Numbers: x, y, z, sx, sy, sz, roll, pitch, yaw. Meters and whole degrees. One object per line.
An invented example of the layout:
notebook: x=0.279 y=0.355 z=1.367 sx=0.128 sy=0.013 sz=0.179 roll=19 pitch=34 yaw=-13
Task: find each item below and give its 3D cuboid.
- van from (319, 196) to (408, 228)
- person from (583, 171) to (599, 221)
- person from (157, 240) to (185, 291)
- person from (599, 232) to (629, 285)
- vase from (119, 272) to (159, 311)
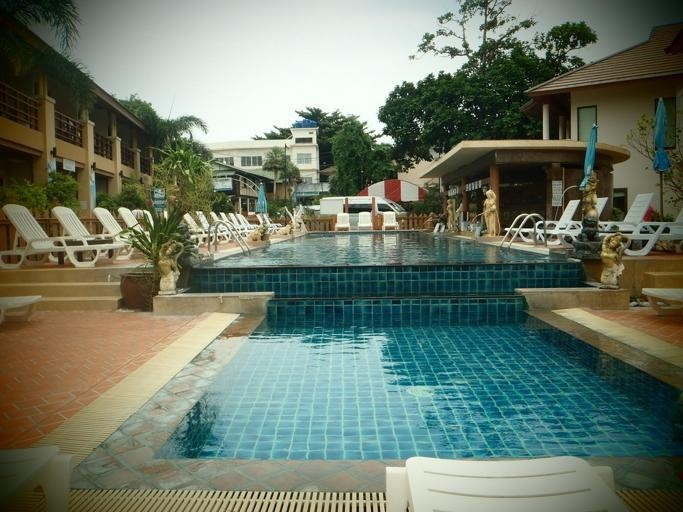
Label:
van: x=1.215 y=-3.061 z=30.799 sx=6.318 sy=2.700 sz=2.271 roll=-2 pitch=8 yaw=4
person: x=4.403 y=-1.061 z=8.115 sx=0.246 sy=0.825 sz=0.788 roll=5 pitch=12 yaw=27
person: x=-2.576 y=0.162 z=6.977 sx=0.376 sy=0.800 sz=0.284 roll=-11 pitch=16 yaw=-44
person: x=4.036 y=0.055 z=6.863 sx=0.295 sy=0.793 sz=0.424 roll=6 pitch=13 yaw=28
vase: x=-3.166 y=0.562 z=7.207 sx=0.635 sy=0.527 sz=0.650 roll=1 pitch=-4 yaw=-3
